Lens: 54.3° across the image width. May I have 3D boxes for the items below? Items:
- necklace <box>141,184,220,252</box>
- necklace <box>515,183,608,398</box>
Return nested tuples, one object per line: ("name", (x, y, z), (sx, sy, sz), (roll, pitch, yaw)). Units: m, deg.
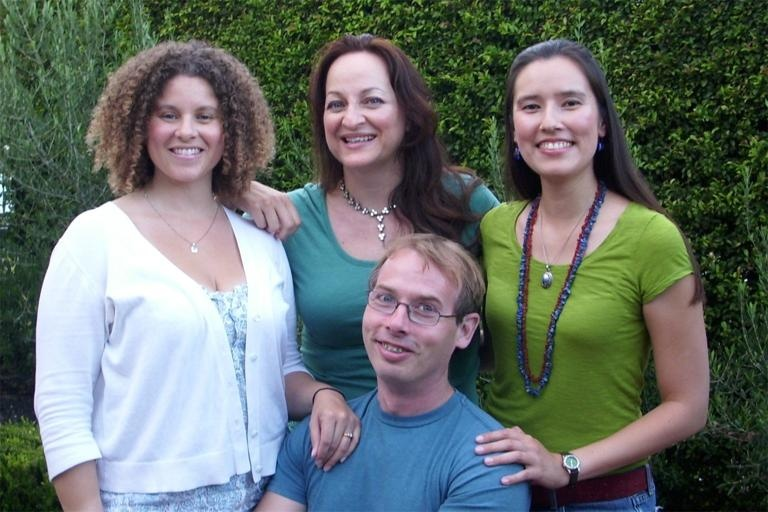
("necklace", (-1.070, -0.181, 4.027), (0.343, 0.326, 0.077), (-4, -16, -29))
("necklace", (0.959, 0.124, 4.223), (0.395, 1.311, 0.064), (0, -23, 37))
